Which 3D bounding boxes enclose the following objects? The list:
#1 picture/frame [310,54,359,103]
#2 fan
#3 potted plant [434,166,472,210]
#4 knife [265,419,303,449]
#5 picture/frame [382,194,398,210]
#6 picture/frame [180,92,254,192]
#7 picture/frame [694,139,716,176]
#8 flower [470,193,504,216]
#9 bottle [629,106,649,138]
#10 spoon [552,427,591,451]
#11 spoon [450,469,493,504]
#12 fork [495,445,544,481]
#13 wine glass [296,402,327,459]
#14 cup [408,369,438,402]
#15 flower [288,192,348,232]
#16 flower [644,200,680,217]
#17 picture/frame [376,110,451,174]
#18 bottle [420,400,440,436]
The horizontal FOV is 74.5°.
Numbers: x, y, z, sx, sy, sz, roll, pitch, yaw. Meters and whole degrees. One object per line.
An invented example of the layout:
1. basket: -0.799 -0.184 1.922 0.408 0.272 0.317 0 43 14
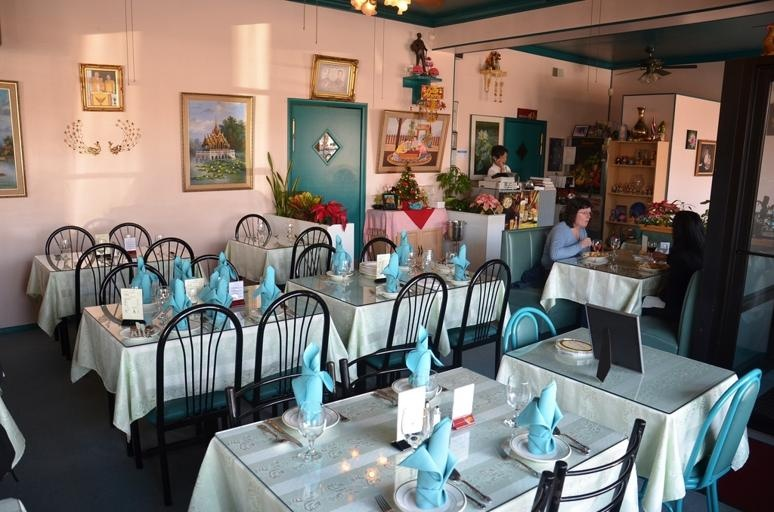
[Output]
1. picture/frame: -0.753 -2.464 6.960 0.708 0.598 0.060 -7 21 -35
2. fan: 4.132 -3.062 7.989 1.172 0.495 1.137 -1 12 15
3. potted plant: 1.037 -1.086 7.902 0.555 0.593 1.058 0 13 6
4. knife: -0.515 0.847 2.470 0.074 0.016 0.307 -9 16 -34
5. picture/frame: 0.033 -0.774 7.189 0.227 0.255 0.027 -3 5 -30
6. picture/frame: -2.138 -1.460 6.272 1.195 1.580 0.063 -4 10 -35
7. picture/frame: 5.975 -1.843 9.558 0.188 0.678 0.844 10 16 40
8. flower: 1.346 -0.710 7.009 0.317 0.236 0.328 7 -1 31
9. bottle: 4.365 -2.323 8.769 0.290 0.545 0.473 5 14 24
10. spoon: 0.886 0.891 2.481 0.056 0.044 0.242 -5 18 -20
11. spoon: 0.359 1.001 2.222 0.061 0.046 0.294 -8 10 -20
12. fork: 0.610 0.949 2.355 0.064 0.040 0.222 -40 53 -11
13. wine glass: -0.353 0.781 2.366 0.121 0.256 0.175 -4 13 -12
14. cup: 0.197 0.667 2.745 0.162 0.168 0.162 0 9 0
15. flower: -0.859 -0.609 6.275 0.626 0.281 0.490 14 10 23
16. flower: 3.488 -0.607 6.369 0.309 0.112 0.287 -9 14 -31
17. picture/frame: 0.351 -1.785 7.819 1.085 0.786 0.042 -6 19 -35
18. bottle: 0.211 0.750 2.368 0.053 0.139 0.096 16 -9 -21
